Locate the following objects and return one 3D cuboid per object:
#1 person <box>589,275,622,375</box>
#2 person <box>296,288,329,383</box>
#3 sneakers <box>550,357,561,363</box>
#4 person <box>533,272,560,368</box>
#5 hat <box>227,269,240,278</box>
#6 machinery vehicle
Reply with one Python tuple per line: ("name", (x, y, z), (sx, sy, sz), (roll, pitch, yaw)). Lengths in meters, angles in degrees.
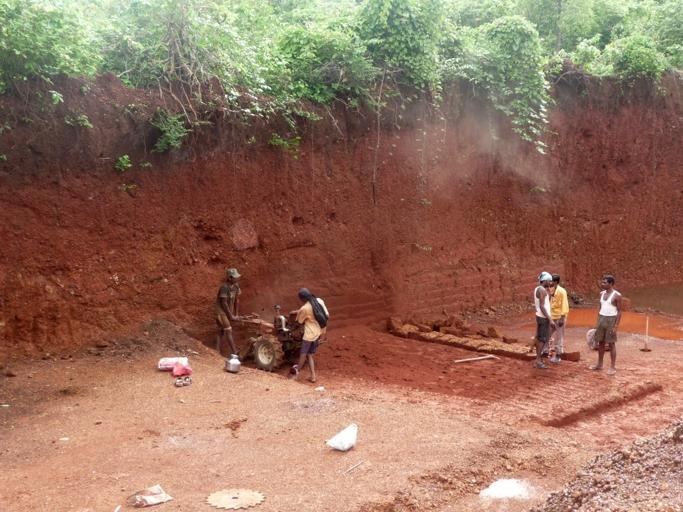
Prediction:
("person", (5.605, 1.481, 13.272), (0.568, 2.108, 0.641), (-5, 12, 2))
("person", (-0.676, 1.615, 13.302), (0.779, 1.949, 1.338), (-7, 12, -3))
("sneakers", (4.836, 2.361, 14.077), (0.225, 0.144, 0.093), (-1, -3, 5))
("person", (4.548, 1.360, 13.972), (0.427, 2.094, 1.234), (-2, 12, 19))
("hat", (-2.522, 0.409, 14.412), (0.261, 0.131, 0.200), (7, 12, 28))
("machinery vehicle", (-1.842, 1.858, 14.393), (1.643, 1.030, 2.585), (-1, 1, -43))
